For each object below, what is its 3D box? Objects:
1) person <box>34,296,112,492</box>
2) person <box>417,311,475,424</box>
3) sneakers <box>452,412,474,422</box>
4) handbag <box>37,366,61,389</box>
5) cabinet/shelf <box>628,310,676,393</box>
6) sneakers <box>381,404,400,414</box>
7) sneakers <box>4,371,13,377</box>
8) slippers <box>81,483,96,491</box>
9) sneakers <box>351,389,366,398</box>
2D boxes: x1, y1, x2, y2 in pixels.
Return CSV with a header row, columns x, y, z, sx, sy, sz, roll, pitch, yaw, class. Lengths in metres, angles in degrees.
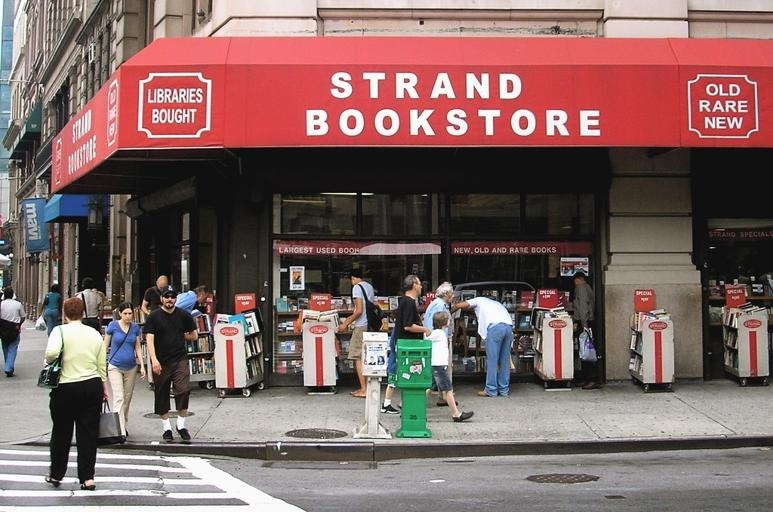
x,y,z,sx,sy,sz,roll,pitch,yaw,class
-5.093,2.272,14.738,0.827,2.903,0.836,1,9,12,person
1.182,2.167,17.475,0.837,2.144,0.688,-1,9,2,person
1.496,3.126,17.547,0.323,0.154,0.178,-12,3,-2,sneakers
-5.454,1.965,14.454,0.343,0.411,0.246,1,9,14,handbag
5.732,2.069,19.381,0.683,1.689,1.695,0,0,9,cabinet/shelf
0.072,3.087,18.156,0.360,0.173,0.156,0,-1,-4,sneakers
-9.393,2.918,22.369,0.193,0.131,0.404,-5,10,-23,sneakers
-4.817,3.728,14.529,0.264,0.111,0.093,2,-1,41,slippers
-0.615,2.959,19.336,0.261,0.100,0.198,1,-1,-2,sneakers
